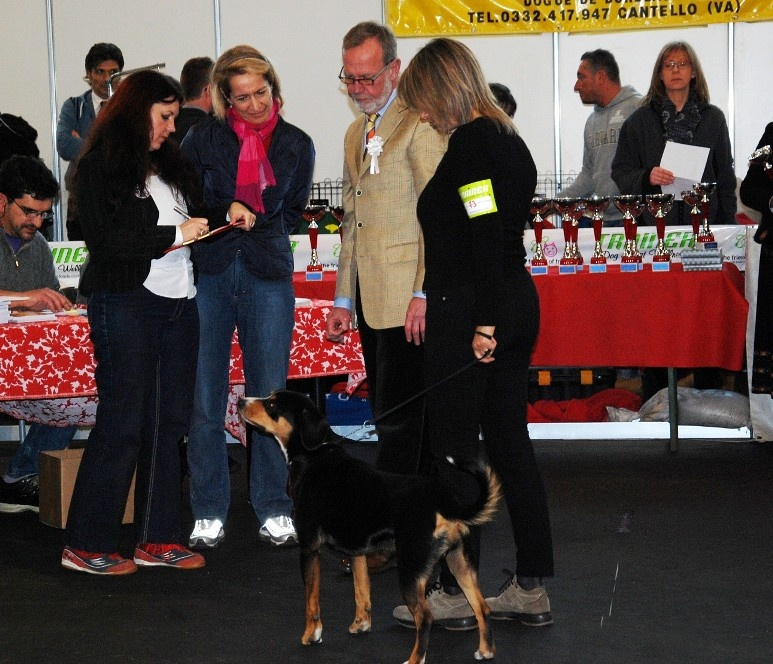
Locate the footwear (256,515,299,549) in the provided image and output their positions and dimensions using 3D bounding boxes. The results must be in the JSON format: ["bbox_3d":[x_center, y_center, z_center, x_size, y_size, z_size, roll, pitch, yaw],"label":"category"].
[{"bbox_3d":[-0.435,0.808,4.234,0.085,0.113,0.200,-1,5,-19],"label":"footwear"}]

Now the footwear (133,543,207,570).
[{"bbox_3d":[-0.827,0.854,4.013,0.253,0.136,0.111,0,2,-1],"label":"footwear"}]

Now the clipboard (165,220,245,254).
[{"bbox_3d":[-0.679,-0.362,3.898,0.325,0.029,0.231,-30,15,-39],"label":"clipboard"}]

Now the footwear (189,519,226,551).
[{"bbox_3d":[-0.724,0.807,4.160,0.066,0.090,0.176,-1,-12,0],"label":"footwear"}]

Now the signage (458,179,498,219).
[{"bbox_3d":[0.272,-0.396,3.133,0.097,0.119,0.104,-16,-14,-20],"label":"signage"}]

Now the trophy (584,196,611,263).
[{"bbox_3d":[1.167,-0.553,5.787,0.144,0.399,0.155,0,3,23],"label":"trophy"}]

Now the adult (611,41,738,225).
[{"bbox_3d":[1.713,-0.911,6.232,0.637,1.774,0.571,3,-6,10],"label":"adult"}]

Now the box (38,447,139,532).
[{"bbox_3d":[-1.415,0.705,4.653,0.195,0.299,0.372,6,-6,-34],"label":"box"}]

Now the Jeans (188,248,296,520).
[{"bbox_3d":[-0.617,0.214,4.289,0.446,1.365,0.336,-1,16,-10],"label":"Jeans"}]
